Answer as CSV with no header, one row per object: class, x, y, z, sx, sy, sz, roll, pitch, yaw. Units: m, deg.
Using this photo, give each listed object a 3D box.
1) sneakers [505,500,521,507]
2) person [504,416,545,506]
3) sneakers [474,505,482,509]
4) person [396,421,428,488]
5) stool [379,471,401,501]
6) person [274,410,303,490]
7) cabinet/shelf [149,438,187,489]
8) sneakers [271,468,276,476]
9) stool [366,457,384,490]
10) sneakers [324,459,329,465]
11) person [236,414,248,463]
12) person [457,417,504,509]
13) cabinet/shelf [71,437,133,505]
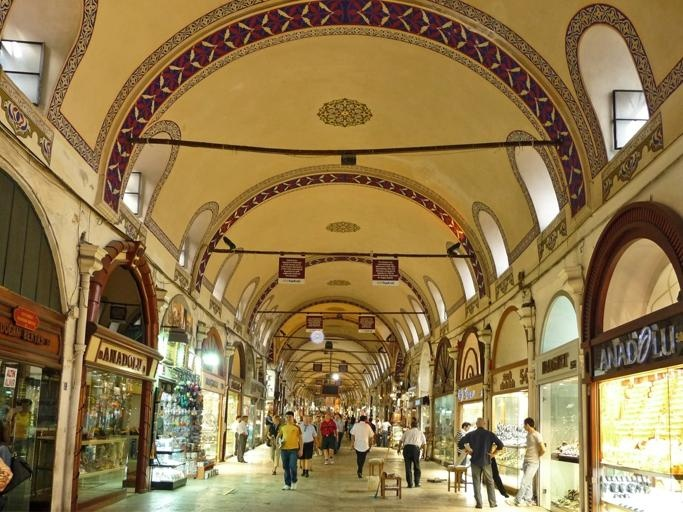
sneakers,3.667,5.309,11.560,0.107,0.160,0.334,13,-10,-22
person,3.871,4.334,11.175,0.593,1.604,1.429,-1,-23,7
sneakers,2.770,5.100,10.910,0.124,0.068,0.209,-4,-26,12
person,1.750,5.090,13.680,0.531,1.591,0.538,8,-35,0
stool,1.074,5.194,12.178,0.540,0.695,0.602,1,-10,-3
person,-1.255,4.675,12.878,0.505,1.722,1.094,3,-22,-3
cabinet/shelf,-4.023,4.912,12.563,0.581,1.068,0.972,-6,-24,18
sneakers,-2.058,6.503,16.158,0.100,0.198,0.256,2,-17,-3
stool,0.835,5.241,12.894,0.367,0.736,0.362,-5,-15,31
sneakers,-0.642,7.959,20.780,0.101,0.273,0.266,0,-23,4
person,-3.742,6.697,19.707,0.427,1.639,1.343,5,-23,-10
person,2.954,4.373,11.381,0.816,1.803,1.098,-4,-23,12
cabinet/shelf,-4.572,4.097,10.296,0.423,1.433,2.682,4,-25,-8
